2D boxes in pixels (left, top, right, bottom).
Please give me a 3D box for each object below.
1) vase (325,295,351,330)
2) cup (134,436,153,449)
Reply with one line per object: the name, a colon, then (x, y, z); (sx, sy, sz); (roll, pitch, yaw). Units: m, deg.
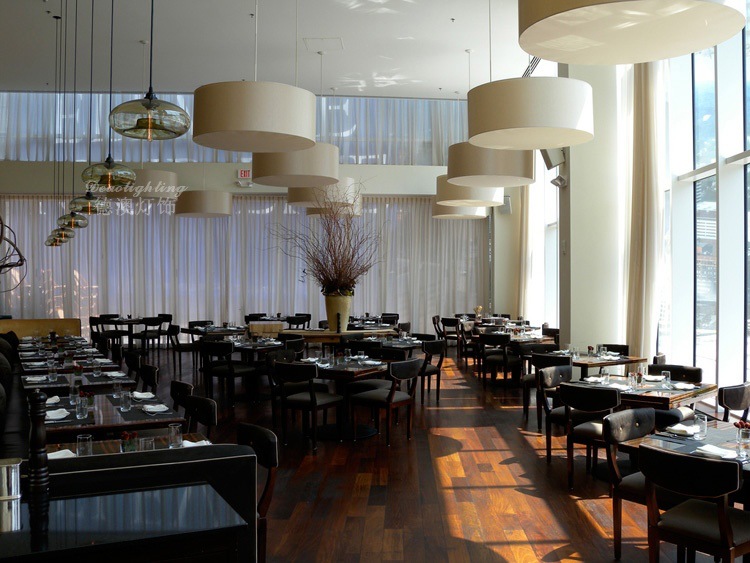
vase: (-0.547, 0.465, 10.280); (0.427, 0.545, 0.462); (9, 12, 22)
cup: (-1.576, 1.114, 4.630); (0.109, 0.080, 0.062); (0, -1, 7)
